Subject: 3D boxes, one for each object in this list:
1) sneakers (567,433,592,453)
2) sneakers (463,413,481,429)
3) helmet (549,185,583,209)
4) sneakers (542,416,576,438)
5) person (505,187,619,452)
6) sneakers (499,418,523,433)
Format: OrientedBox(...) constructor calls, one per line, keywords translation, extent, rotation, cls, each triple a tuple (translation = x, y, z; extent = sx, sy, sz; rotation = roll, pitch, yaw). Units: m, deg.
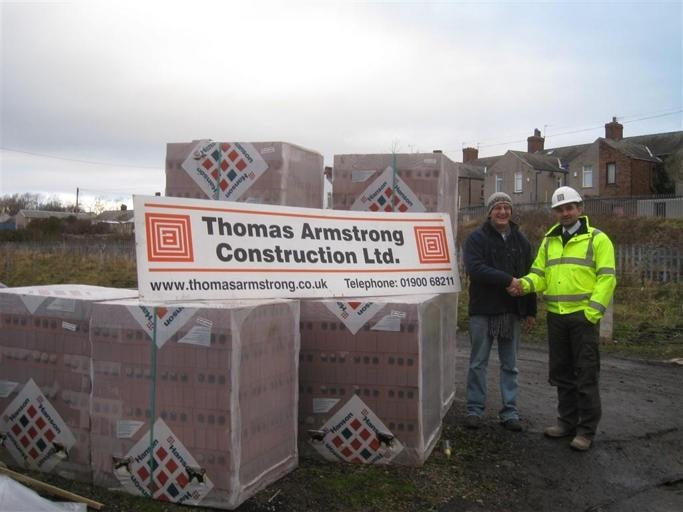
OrientedBox(translation=(2.538, 1.935, 6.193), extent=(0.307, 0.138, 0.179), rotation=(1, 4, -13), cls="sneakers")
OrientedBox(translation=(1.500, 1.882, 6.757), extent=(0.116, 0.173, 0.149), rotation=(-3, 44, 5), cls="sneakers")
OrientedBox(translation=(2.519, -0.646, 6.609), extent=(0.244, 0.203, 0.331), rotation=(-5, -4, 35), cls="helmet")
OrientedBox(translation=(2.403, 1.889, 6.578), extent=(0.357, 0.187, 0.170), rotation=(8, -10, -31), cls="sneakers")
OrientedBox(translation=(2.449, 0.619, 6.469), extent=(0.923, 2.731, 0.639), rotation=(4, 4, 35), cls="person")
OrientedBox(translation=(1.931, 1.925, 6.735), extent=(0.095, 0.136, 0.273), rotation=(2, -11, -14), cls="sneakers")
